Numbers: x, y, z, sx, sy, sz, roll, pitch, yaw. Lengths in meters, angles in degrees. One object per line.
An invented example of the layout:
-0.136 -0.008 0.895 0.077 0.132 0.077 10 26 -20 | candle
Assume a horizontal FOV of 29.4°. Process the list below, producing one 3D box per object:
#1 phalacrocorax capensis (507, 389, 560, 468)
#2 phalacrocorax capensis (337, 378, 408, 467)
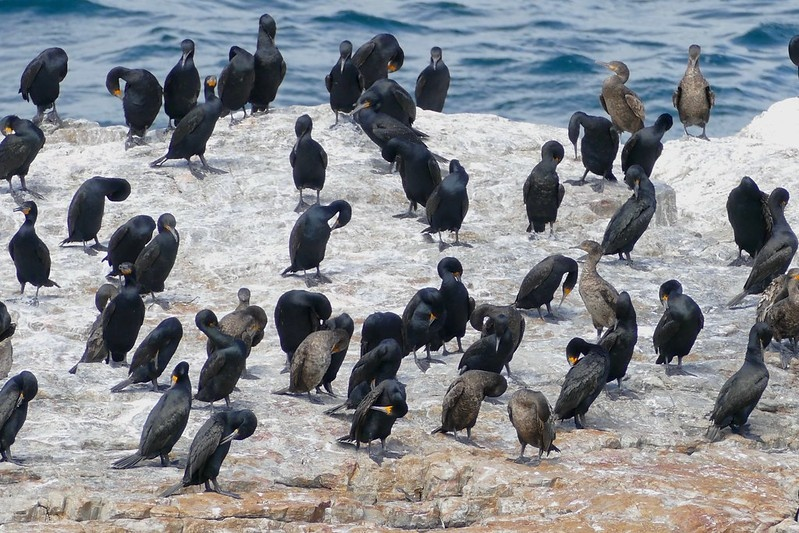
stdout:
2.129 2.586 24.722 0.494 1.122 0.847 -12 26 -33 | phalacrocorax capensis
-0.397 2.476 24.813 0.998 1.166 0.606 2 22 -3 | phalacrocorax capensis
